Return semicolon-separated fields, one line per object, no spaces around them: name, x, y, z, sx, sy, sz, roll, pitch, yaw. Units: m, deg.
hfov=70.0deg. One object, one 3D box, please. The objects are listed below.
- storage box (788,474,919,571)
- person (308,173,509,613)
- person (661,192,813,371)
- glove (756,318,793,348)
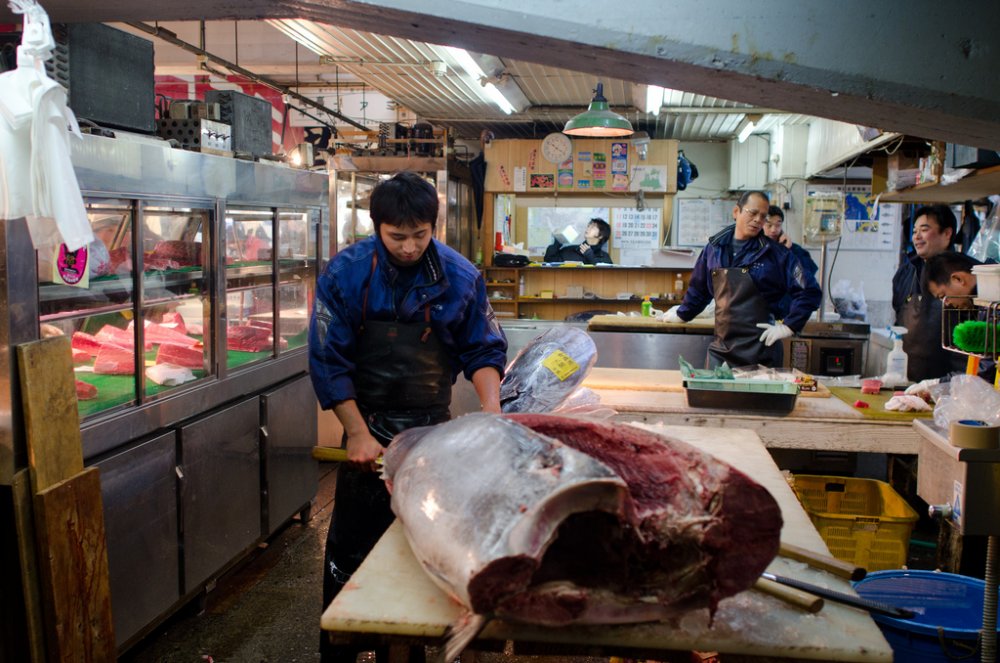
storage box;1.690;0.904;3.454;0.456;0.251;0.560;1;10;7
person;-0.349;0.216;2.829;0.768;1.648;0.495;-3;10;-16
person;1.838;-0.367;5.274;0.509;1.285;0.973;-6;11;-28
glove;1.916;0.029;5.020;0.225;0.210;0.358;2;10;13
